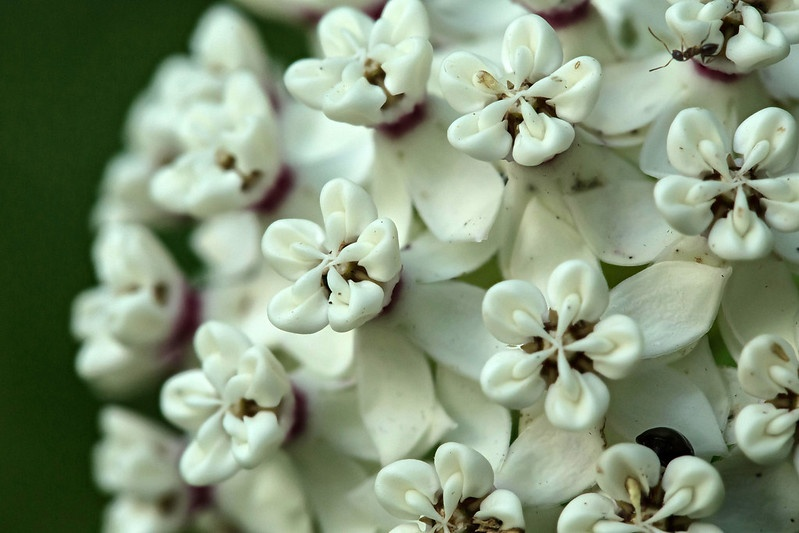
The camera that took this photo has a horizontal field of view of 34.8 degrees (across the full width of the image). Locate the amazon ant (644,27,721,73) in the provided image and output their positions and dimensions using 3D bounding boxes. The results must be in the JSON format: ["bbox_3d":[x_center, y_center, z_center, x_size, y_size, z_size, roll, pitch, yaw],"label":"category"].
[{"bbox_3d":[0.437,-0.330,1.939,0.088,0.118,0.039,6,88,-27],"label":"amazon ant"}]
